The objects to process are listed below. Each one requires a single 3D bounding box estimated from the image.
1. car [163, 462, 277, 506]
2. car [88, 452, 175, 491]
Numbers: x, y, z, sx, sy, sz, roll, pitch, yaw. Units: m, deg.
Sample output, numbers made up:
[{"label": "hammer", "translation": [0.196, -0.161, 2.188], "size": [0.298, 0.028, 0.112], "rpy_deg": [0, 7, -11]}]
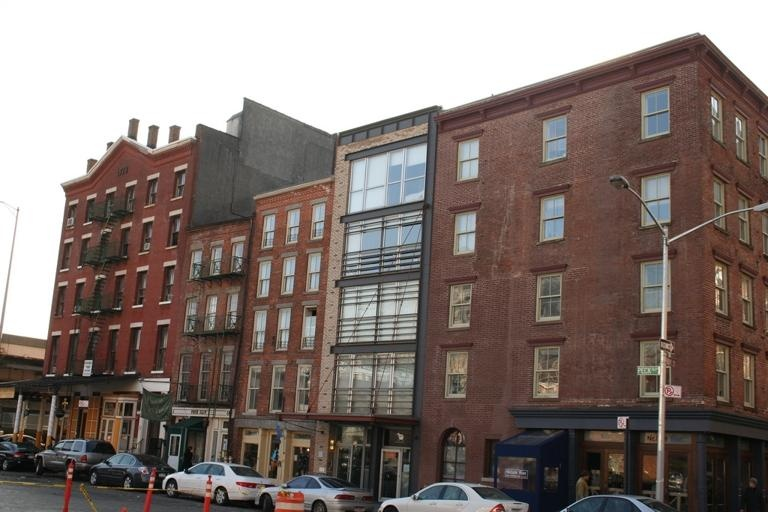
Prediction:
[{"label": "car", "translation": [-8.595, 11.585, 41.583], "size": [6.268, 2.033, 2.612], "rpy_deg": [-11, -25, 31]}, {"label": "car", "translation": [-14.048, 11.567, 44.232], "size": [3.784, 2.026, 1.611], "rpy_deg": [-7, -24, 22]}]
